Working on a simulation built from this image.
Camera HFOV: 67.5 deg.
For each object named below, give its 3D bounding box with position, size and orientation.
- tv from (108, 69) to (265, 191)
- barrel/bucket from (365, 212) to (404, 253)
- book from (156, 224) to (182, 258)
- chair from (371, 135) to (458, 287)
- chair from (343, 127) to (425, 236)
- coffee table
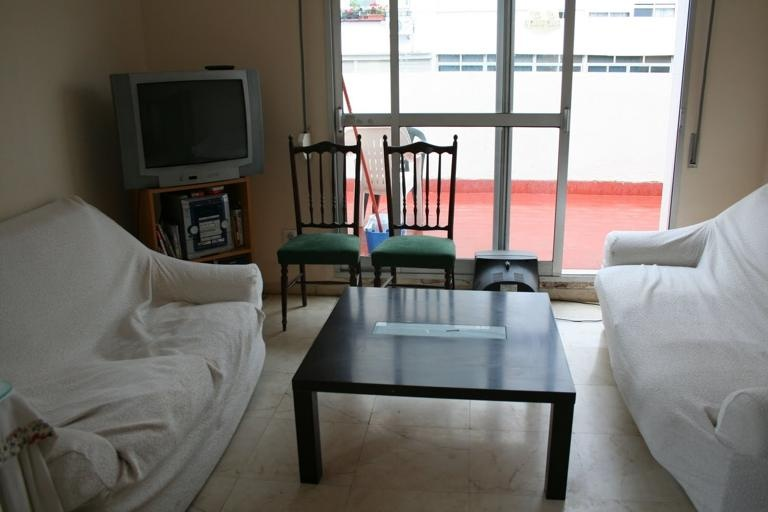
[{"bbox_3d":[-1.504,-0.971,4.300,1.061,0.814,0.569,-16,33,-35],"label":"tv"},{"bbox_3d":[-0.029,-0.207,5.183,0.269,0.220,0.337,3,31,6],"label":"barrel/bucket"},{"bbox_3d":[-1.548,-0.108,4.142,0.220,0.213,0.052,-4,2,-34],"label":"book"},{"bbox_3d":[0.275,-0.362,4.743,0.660,1.228,1.618,3,14,7],"label":"chair"},{"bbox_3d":[0.005,-0.618,4.710,0.618,0.952,0.566,10,50,15],"label":"chair"},{"bbox_3d":[0.273,0.689,3.245,1.345,0.778,1.003,2,14,6],"label":"coffee table"}]
